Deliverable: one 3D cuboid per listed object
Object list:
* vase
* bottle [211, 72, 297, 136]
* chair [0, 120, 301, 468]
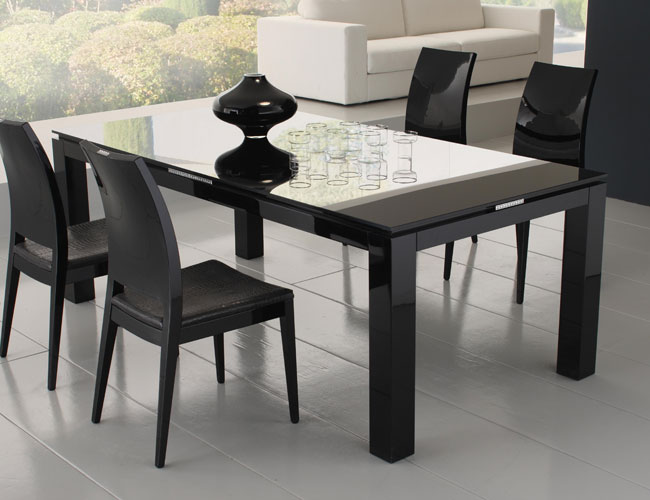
[{"bbox_3d":[-0.305,-0.596,2.439,0.252,0.188,0.255,-7,14,-34],"label":"vase"},{"bbox_3d":[-0.282,-0.570,2.399,0.253,0.189,0.257,1,11,0],"label":"bottle"},{"bbox_3d":[-0.660,0.169,2.152,0.453,0.814,1.057,-15,26,-40],"label":"chair"}]
